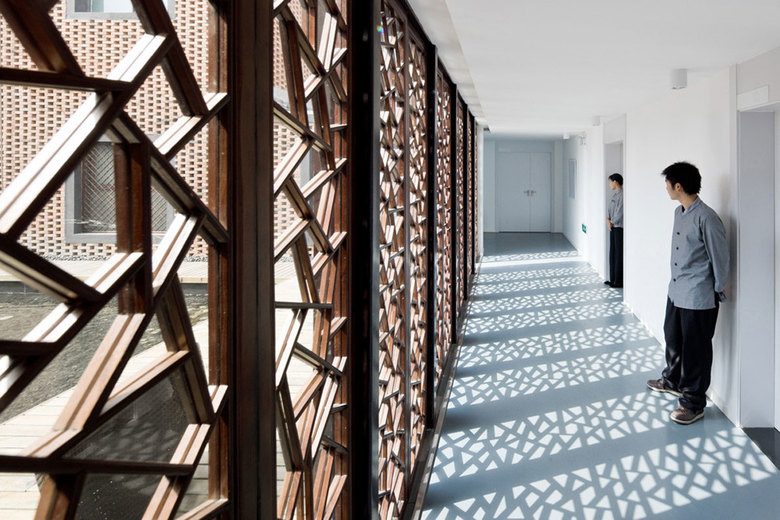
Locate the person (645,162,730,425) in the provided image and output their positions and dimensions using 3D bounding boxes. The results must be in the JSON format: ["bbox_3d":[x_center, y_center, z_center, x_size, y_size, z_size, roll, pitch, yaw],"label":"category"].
[{"bbox_3d":[2.076,0.198,3.995,0.390,1.729,0.607,1,7,17],"label":"person"}]

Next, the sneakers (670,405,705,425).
[{"bbox_3d":[2.017,1.033,3.914,0.231,0.117,0.096,1,-1,-12],"label":"sneakers"}]

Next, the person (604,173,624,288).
[{"bbox_3d":[3.125,-0.399,8.058,0.212,1.573,0.636,1,7,21],"label":"person"}]

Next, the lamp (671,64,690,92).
[{"bbox_3d":[2.037,-1.293,4.112,0.107,0.227,0.123,-2,3,-1],"label":"lamp"}]
